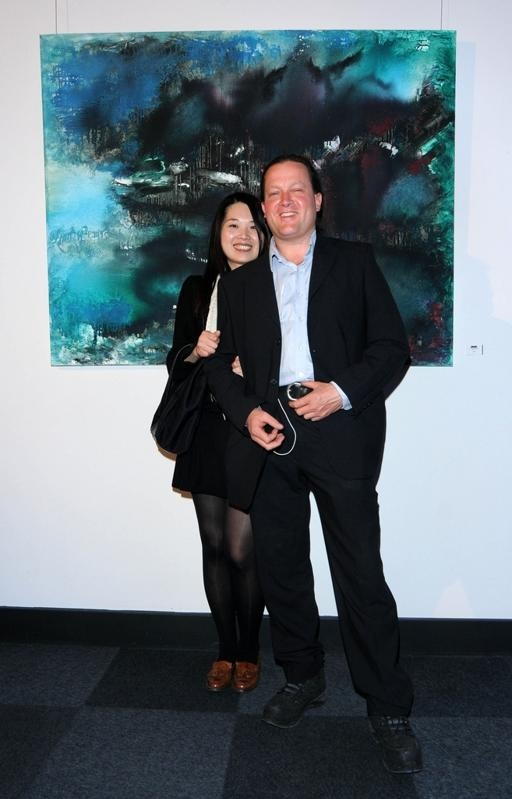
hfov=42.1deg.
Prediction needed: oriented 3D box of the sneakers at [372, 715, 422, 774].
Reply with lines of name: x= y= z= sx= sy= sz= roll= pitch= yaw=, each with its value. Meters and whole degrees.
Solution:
sneakers: x=0.418 y=1.004 z=1.977 sx=0.069 sy=0.070 sz=0.184 roll=-2 pitch=23 yaw=-10

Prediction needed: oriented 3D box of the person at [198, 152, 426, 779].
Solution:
person: x=0.167 y=0.149 z=2.052 sx=0.688 sy=1.808 sz=0.341 roll=1 pitch=4 yaw=14

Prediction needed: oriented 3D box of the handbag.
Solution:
handbag: x=-0.260 y=0.038 z=2.294 sx=0.113 sy=0.374 sz=0.161 roll=7 pitch=34 yaw=-38

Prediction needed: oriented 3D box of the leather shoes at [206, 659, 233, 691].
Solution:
leather shoes: x=-0.131 y=0.975 z=2.344 sx=0.054 sy=0.045 sz=0.112 roll=-1 pitch=1 yaw=7

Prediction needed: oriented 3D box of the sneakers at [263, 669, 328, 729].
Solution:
sneakers: x=0.127 y=0.988 z=2.201 sx=0.086 sy=0.106 sz=0.240 roll=1 pitch=-1 yaw=38
